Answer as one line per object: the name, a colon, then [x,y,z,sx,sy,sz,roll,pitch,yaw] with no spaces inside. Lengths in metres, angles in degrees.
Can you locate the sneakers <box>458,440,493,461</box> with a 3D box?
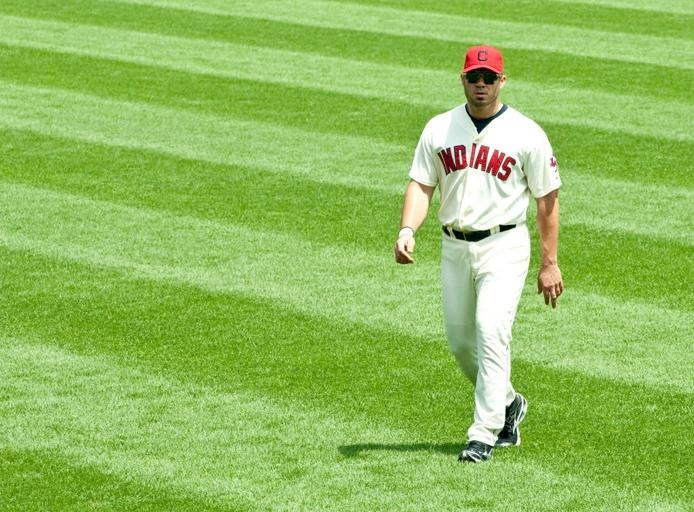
sneakers: [1.022,1.605,12.270,0.141,0.115,0.265,-2,-6,37]

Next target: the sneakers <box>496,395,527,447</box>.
sneakers: [1.359,1.387,12.513,0.170,0.529,0.237,18,11,34]

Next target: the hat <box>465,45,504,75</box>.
hat: [1.099,-1.598,12.310,0.212,0.160,0.289,2,6,8]

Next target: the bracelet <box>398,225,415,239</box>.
bracelet: [0.460,-0.196,12.305,0.092,0.069,0.092,1,-5,-6]
